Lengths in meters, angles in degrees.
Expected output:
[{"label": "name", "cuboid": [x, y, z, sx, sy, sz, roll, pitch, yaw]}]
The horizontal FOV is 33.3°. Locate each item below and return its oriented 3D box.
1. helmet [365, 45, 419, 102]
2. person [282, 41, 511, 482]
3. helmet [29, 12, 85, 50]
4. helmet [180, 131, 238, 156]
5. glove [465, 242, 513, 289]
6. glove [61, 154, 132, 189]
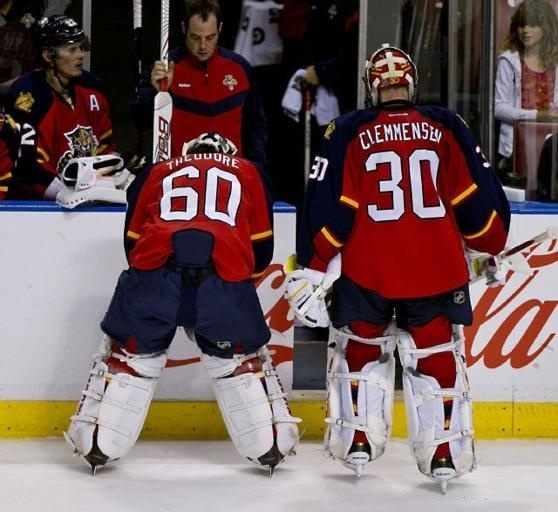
[{"label": "helmet", "cuboid": [0.443, -0.723, 3.665, 0.184, 0.225, 0.211, 0, -9, 2]}, {"label": "person", "cuboid": [0.460, 0.018, 3.582, 0.745, 1.632, 0.455, 5, 13, 21]}, {"label": "helmet", "cuboid": [-1.039, -1.081, 4.487, 0.220, 0.198, 0.164, -11, 18, 7]}, {"label": "helmet", "cuboid": [-0.297, -0.463, 3.881, 0.123, 0.072, 0.154, 1, -2, -15]}, {"label": "glove", "cuboid": [0.851, 0.047, 3.740, 0.064, 0.152, 0.149, 23, 26, -12]}, {"label": "glove", "cuboid": [-0.828, -0.396, 4.157, 0.249, 0.096, 0.173, -6, 12, -7]}]
